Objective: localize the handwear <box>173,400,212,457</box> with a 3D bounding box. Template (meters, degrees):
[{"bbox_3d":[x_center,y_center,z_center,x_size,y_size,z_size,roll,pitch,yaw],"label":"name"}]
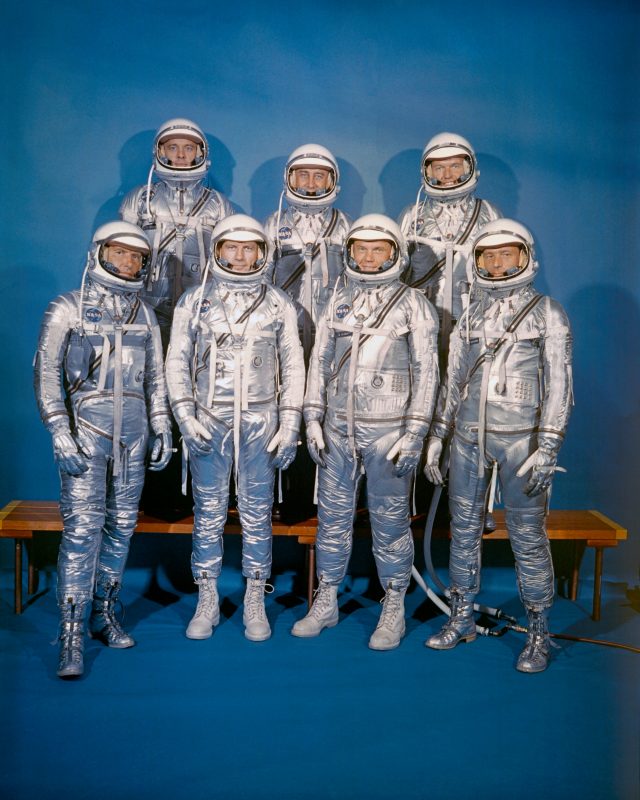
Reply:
[{"bbox_3d":[-0.569,0.127,4.001,0.162,0.239,0.128,-21,-18,-5],"label":"handwear"}]

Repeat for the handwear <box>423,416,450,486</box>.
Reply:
[{"bbox_3d":[0.510,0.237,3.999,0.120,0.282,0.091,1,16,-38],"label":"handwear"}]

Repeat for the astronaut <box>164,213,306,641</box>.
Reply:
[{"bbox_3d":[-0.411,0.153,4.289,0.709,1.814,0.733,1,3,-4],"label":"astronaut"}]

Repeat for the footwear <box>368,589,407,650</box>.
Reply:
[{"bbox_3d":[0.310,1.022,4.109,0.143,0.229,0.371,3,8,20],"label":"footwear"}]

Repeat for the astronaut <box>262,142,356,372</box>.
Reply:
[{"bbox_3d":[-0.085,-0.743,4.560,0.417,1.101,0.357,0,18,-10],"label":"astronaut"}]

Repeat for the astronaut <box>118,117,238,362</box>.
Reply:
[{"bbox_3d":[-0.755,-0.851,4.675,0.597,1.214,0.460,-1,20,-15],"label":"astronaut"}]

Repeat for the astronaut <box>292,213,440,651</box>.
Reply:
[{"bbox_3d":[0.186,0.087,4.278,0.767,1.917,0.622,4,14,10],"label":"astronaut"}]
